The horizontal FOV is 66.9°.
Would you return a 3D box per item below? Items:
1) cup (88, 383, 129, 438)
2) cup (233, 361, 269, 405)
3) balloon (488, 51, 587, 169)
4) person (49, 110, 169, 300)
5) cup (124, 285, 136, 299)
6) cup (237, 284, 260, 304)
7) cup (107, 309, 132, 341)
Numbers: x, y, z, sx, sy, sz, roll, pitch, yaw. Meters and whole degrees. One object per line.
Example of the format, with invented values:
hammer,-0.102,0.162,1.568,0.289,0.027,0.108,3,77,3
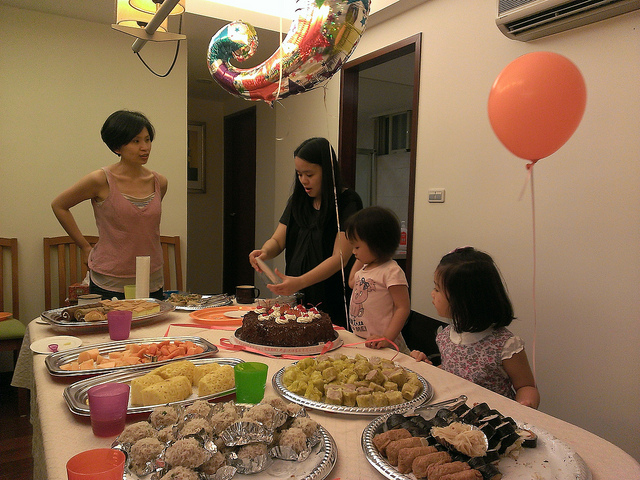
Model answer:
cup,-0.631,0.512,1.451,0.114,0.140,0.118,2,0,0
cup,-0.225,0.446,1.555,0.110,0.134,0.118,1,-3,0
balloon,0.929,-0.577,2.059,0.395,0.534,0.151,14,10,17
person,-1.270,-0.213,2.913,0.634,1.129,0.538,-2,6,-10
cup,-1.006,0.269,2.558,0.064,0.076,0.067,5,0,0
cup,-0.395,0.298,2.690,0.087,0.103,0.182,0,6,9
cup,-0.833,0.356,2.001,0.097,0.117,0.101,-5,-16,-1
